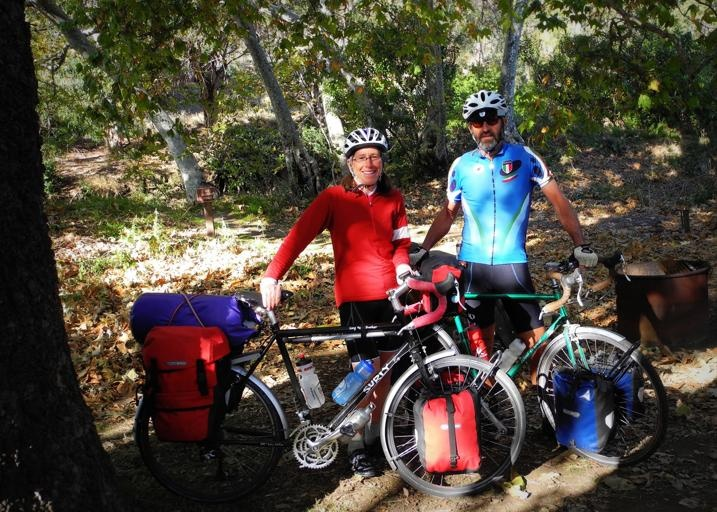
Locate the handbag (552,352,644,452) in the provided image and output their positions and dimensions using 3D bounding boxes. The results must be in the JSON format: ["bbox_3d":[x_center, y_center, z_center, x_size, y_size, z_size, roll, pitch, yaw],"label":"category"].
[{"bbox_3d":[2.079,1.348,5.640,0.834,0.801,0.594,5,-3,-30],"label":"handbag"}]

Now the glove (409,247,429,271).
[{"bbox_3d":[0.562,0.037,5.847,0.108,0.124,0.319,24,-13,5],"label":"glove"}]

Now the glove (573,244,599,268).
[{"bbox_3d":[1.954,-0.008,5.329,0.219,0.093,0.166,35,4,24],"label":"glove"}]
